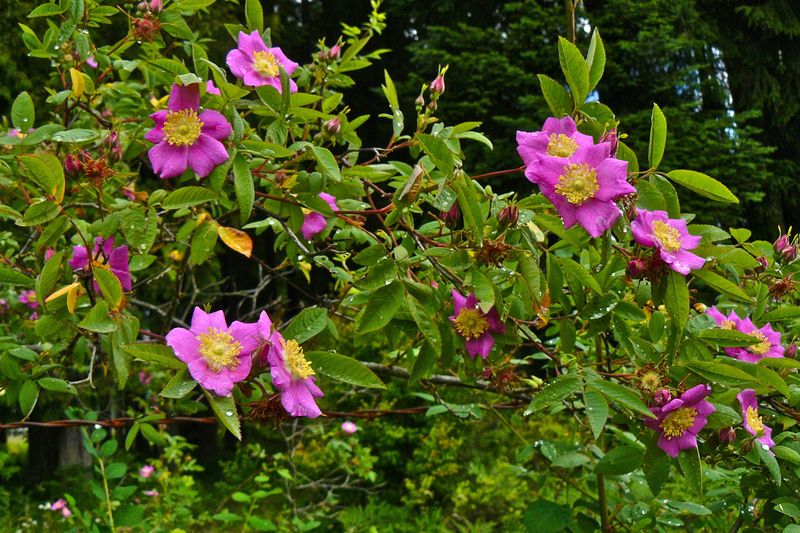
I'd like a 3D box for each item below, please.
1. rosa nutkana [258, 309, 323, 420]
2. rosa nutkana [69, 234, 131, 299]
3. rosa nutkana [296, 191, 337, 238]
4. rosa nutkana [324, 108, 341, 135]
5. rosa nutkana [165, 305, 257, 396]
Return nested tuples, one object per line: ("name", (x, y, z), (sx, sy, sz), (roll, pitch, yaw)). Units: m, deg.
("rosa nutkana", (-0.408, 0.370, 3.443), (0.117, 0.359, 0.340), (-12, -14, 15))
("rosa nutkana", (-1.221, -0.042, 3.703), (0.239, 0.275, 0.135), (-8, -19, 21))
("rosa nutkana", (-0.350, -0.223, 3.863), (0.082, 0.185, 0.173), (24, 7, 31))
("rosa nutkana", (-0.272, -0.583, 3.764), (0.085, 0.075, 0.039), (-3, 8, -40))
("rosa nutkana", (-0.712, 0.319, 3.461), (0.329, 0.304, 0.205), (-1, 7, -24))
